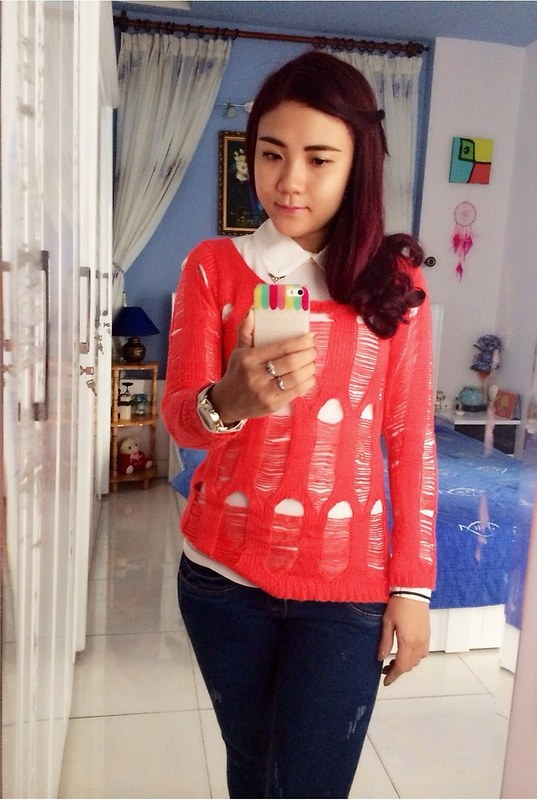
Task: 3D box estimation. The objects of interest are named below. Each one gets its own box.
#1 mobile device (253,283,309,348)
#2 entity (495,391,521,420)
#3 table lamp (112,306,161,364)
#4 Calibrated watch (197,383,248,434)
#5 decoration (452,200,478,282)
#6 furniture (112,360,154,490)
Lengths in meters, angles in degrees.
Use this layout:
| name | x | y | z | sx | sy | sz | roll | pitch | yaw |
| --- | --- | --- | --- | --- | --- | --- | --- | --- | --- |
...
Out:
| name | x | y | z | sx | sy | sz | roll | pitch | yaw |
| --- | --- | --- | --- | --- | --- | --- | --- | --- | --- |
| mobile device | 0.015 | -0.082 | 0.712 | 0.061 | 0.101 | 0.010 | -1 | -23 | 1 |
| entity | 1.003 | 0.022 | 2.707 | 0.051 | 0.122 | 0.129 | 3 | -3 | -9 |
| table lamp | -0.788 | -0.383 | 3.815 | 0.334 | 0.360 | 0.329 | -5 | 6 | -38 |
| Calibrated watch | -0.051 | 0.010 | 0.725 | 0.022 | 0.056 | 0.055 | -34 | -6 | 15 |
| decoration | 1.282 | -1.060 | 4.256 | 0.154 | 0.501 | 0.055 | 5 | 9 | 6 |
| furniture | -0.819 | 0.144 | 3.955 | 0.284 | 0.779 | 0.465 | 2 | 9 | -10 |
